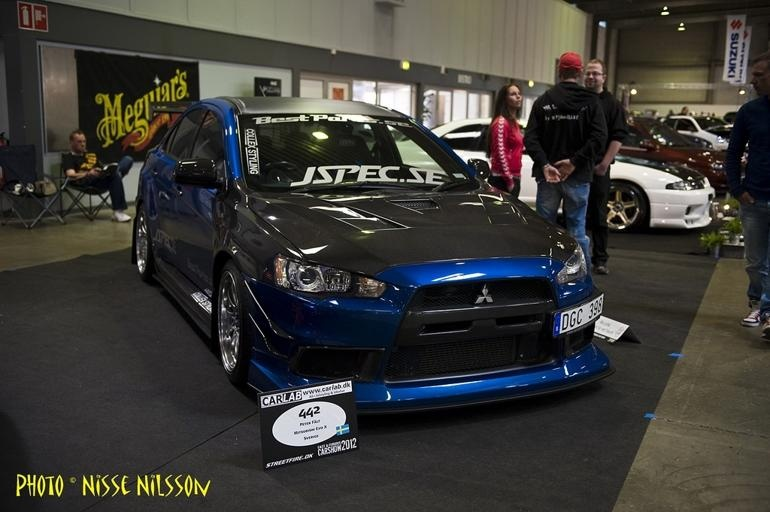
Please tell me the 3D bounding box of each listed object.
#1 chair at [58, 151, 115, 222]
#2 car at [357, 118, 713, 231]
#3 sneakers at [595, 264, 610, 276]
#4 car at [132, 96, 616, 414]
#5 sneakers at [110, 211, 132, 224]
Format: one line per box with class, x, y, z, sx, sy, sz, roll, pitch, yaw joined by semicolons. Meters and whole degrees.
chair;-5.504;-1.234;8.932;0.739;0.820;0.708;3;-3;29
car;3.039;-1.280;9.301;5.846;1.771;2.598;7;15;25
sneakers;2.784;0.180;6.111;0.084;0.086;0.199;1;0;4
car;-0.305;-0.206;3.576;3.439;1.997;1.947;14;20;42
sneakers;-4.892;-0.730;9.001;0.491;0.216;0.186;8;14;37
